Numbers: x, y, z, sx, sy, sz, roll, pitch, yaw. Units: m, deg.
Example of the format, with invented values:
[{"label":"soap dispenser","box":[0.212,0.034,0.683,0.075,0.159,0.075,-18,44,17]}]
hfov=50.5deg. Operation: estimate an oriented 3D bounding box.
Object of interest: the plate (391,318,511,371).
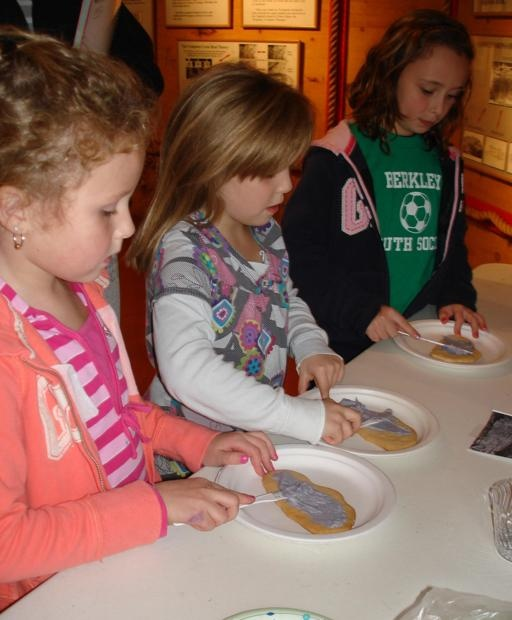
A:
[{"label":"plate","box":[0.518,0.107,1.441,0.182,0.021,0.161,14,32,23]}]
